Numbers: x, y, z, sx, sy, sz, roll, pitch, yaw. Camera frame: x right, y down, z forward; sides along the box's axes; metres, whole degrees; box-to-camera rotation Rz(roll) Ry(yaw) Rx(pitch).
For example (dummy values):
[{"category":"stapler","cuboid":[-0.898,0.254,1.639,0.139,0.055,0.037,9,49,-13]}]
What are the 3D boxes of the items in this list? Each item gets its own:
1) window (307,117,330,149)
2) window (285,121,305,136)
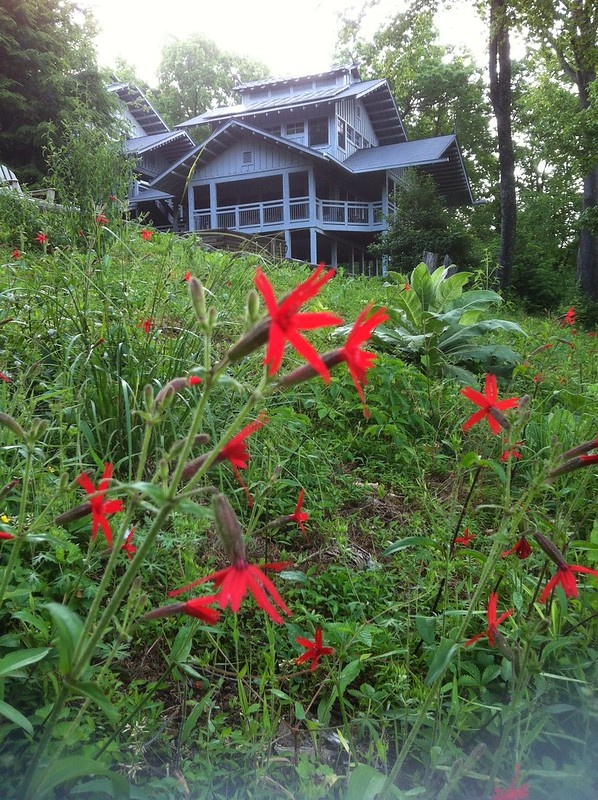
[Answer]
[{"category":"window","cuboid":[0.646,-8.797,21.285,0.750,0.909,0.254,11,15,43]},{"category":"window","cuboid":[-0.096,-9.132,21.649,0.598,0.413,0.030,6,-9,30]}]
